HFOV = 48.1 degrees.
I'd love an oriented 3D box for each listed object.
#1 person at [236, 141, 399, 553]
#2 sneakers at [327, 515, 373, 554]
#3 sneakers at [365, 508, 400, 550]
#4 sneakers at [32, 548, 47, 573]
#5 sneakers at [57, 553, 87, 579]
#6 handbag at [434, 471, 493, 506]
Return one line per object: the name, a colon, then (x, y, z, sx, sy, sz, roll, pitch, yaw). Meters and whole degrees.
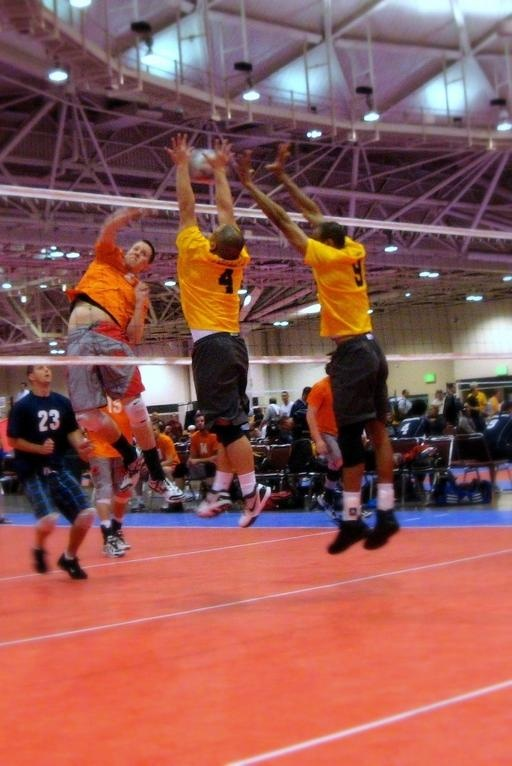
person: (0.390, -0.332, 3.242, 0.624, 2.555, 0.508, -7, -11, 12)
sneakers: (0.499, 0.812, 3.040, 0.210, 0.185, 0.297, -6, -11, 13)
sneakers: (0.645, 0.761, 2.981, 0.175, 0.196, 0.159, -6, -11, 8)
sneakers: (-1.524, 1.263, 4.063, 0.085, 0.197, 0.302, -1, -11, -18)
sneakers: (-1.204, 1.226, 3.835, 0.220, 0.160, 0.174, -5, -11, 6)
handbag: (2.909, 1.547, 8.151, 0.599, 0.337, 0.563, -3, -3, 5)
